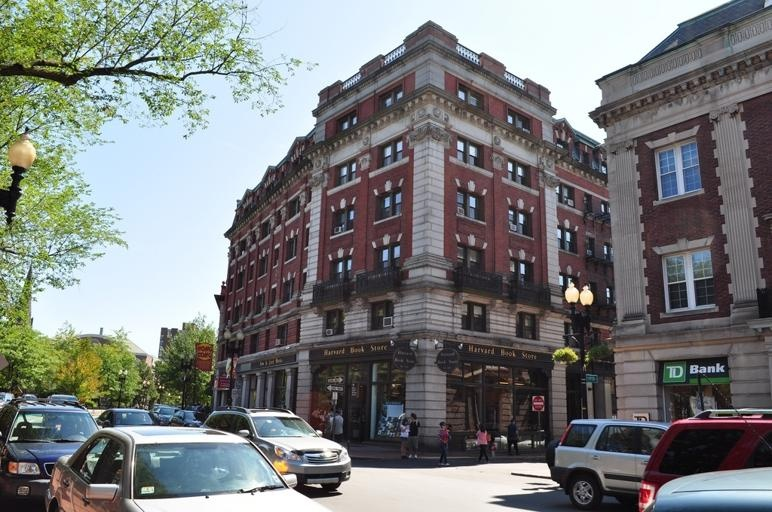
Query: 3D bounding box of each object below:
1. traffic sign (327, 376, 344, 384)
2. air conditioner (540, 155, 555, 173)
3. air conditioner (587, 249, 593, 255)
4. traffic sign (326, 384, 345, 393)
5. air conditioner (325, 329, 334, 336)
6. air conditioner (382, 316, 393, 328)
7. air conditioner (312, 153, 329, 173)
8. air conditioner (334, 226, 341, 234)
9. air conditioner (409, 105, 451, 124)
[{"bbox_3d":[-2.610,6.374,33.024,0.744,0.375,1.732,5,-20,-9],"label":"traffic sign"},{"bbox_3d":[11.286,-6.465,45.426,1.311,0.782,0.210,6,-12,-44],"label":"air conditioner"},{"bbox_3d":[15.195,-0.292,48.321,0.433,0.405,0.230,-2,-31,-12],"label":"air conditioner"},{"bbox_3d":[-2.609,6.585,32.392,0.544,0.197,0.598,17,-6,30],"label":"traffic sign"},{"bbox_3d":[-3.606,5.066,41.983,0.389,0.501,0.712,8,-11,-34],"label":"air conditioner"},{"bbox_3d":[0.137,3.936,38.646,0.320,0.532,0.585,21,-27,-36],"label":"air conditioner"},{"bbox_3d":[-4.584,-6.674,46.192,0.398,0.860,1.499,3,-4,-34],"label":"air conditioner"},{"bbox_3d":[-3.224,-1.770,43.850,0.497,0.453,0.122,-10,-12,34],"label":"air conditioner"},{"bbox_3d":[2.817,-8.504,39.603,1.422,0.832,1.401,7,-11,-29],"label":"air conditioner"}]
